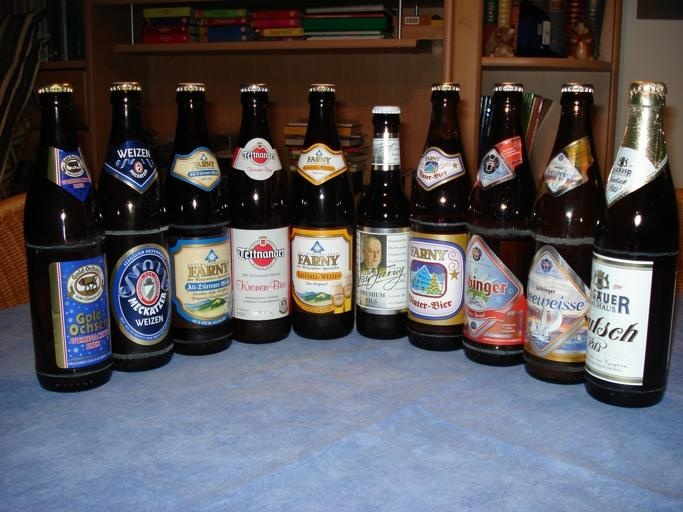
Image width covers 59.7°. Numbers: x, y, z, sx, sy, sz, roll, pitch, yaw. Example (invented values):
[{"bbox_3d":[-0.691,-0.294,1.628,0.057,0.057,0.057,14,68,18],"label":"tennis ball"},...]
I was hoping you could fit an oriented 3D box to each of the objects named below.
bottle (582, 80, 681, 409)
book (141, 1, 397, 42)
[{"bbox_3d":[0.353,-0.010,0.689,0.112,0.363,0.138,8,24,22],"label":"bottle"},{"bbox_3d":[-0.330,-0.937,2.404,1.064,0.134,0.127,7,23,20],"label":"book"}]
